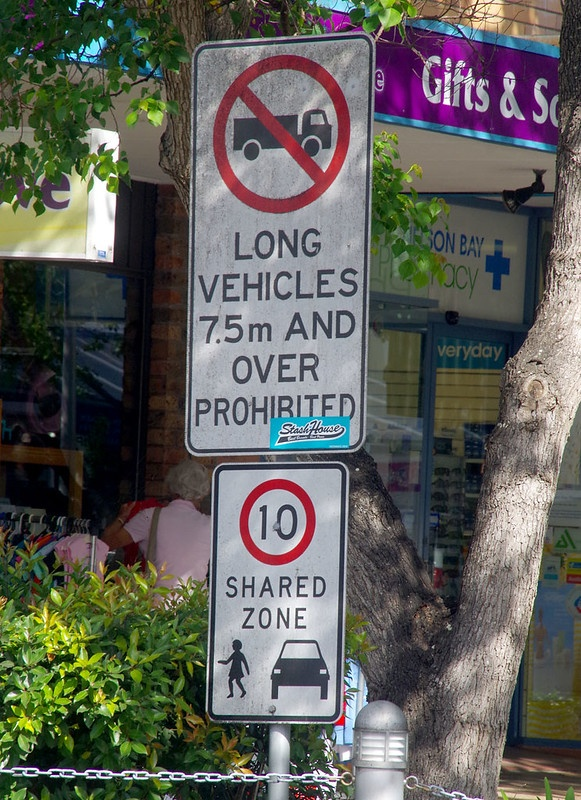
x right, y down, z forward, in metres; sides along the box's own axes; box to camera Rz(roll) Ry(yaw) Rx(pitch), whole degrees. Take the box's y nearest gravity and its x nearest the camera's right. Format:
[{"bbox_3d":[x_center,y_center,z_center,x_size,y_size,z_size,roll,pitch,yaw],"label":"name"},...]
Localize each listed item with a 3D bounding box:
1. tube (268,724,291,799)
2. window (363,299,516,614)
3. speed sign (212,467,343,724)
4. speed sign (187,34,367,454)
[{"bbox_3d":[-0.029,0.834,2.770,0.048,0.197,0.135,3,-4,0],"label":"tube"},{"bbox_3d":[0.781,0.292,6.717,0.144,2.243,1.772,-5,-8,42],"label":"window"},{"bbox_3d":[-0.032,0.434,2.718,0.316,0.591,0.055,2,-4,21],"label":"speed sign"},{"bbox_3d":[-0.036,-0.350,2.754,0.450,0.962,0.064,1,-4,23],"label":"speed sign"}]
